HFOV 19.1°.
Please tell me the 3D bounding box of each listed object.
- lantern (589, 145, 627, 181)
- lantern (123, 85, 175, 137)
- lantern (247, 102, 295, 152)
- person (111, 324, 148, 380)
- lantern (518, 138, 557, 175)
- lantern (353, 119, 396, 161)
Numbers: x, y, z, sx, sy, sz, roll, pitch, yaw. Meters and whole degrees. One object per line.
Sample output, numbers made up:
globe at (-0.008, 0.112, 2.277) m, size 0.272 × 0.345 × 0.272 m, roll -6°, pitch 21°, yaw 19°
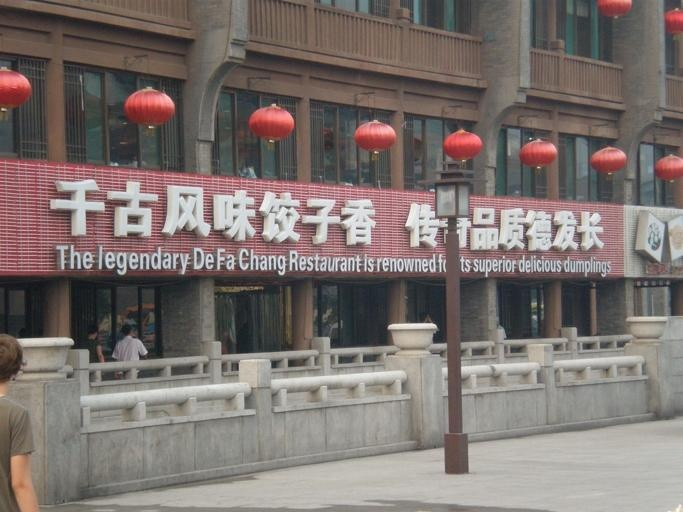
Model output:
lantern at (8.478, -3.007, 64.731) m, size 1.066 × 1.060 × 1.065 m, roll -2°, pitch -6°, yaw 9°
lantern at (-5.159, -3.840, 52.941) m, size 1.355 × 1.189 × 1.376 m, roll -3°, pitch 1°, yaw 6°
lantern at (-2.022, -3.556, 54.883) m, size 1.131 × 1.144 × 1.127 m, roll 0°, pitch 4°, yaw 4°
person at (-5.730, 2.510, 54.003) m, size 0.792 × 1.485 × 0.868 m, roll 5°, pitch -1°, yaw 35°
lantern at (5.883, -3.131, 61.926) m, size 1.051 × 0.986 × 1.020 m, roll -6°, pitch -11°, yaw 17°
lantern at (0.830, -3.351, 57.105) m, size 0.987 × 0.888 × 0.985 m, roll -1°, pitch 3°, yaw 5°
